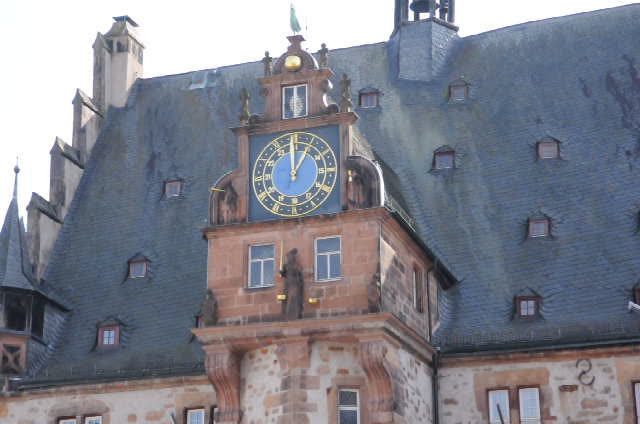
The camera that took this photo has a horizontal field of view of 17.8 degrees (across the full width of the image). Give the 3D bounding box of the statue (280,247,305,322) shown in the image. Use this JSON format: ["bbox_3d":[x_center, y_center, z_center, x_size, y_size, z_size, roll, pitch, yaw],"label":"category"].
[{"bbox_3d":[-0.993,2.398,71.224,0.830,2.561,0.546,-2,-27,-2],"label":"statue"}]

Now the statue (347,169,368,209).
[{"bbox_3d":[1.283,-0.894,71.750,0.712,1.335,0.310,-3,-27,1],"label":"statue"}]

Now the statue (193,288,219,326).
[{"bbox_3d":[-4.113,3.327,73.218,0.868,1.530,0.730,22,-38,-29],"label":"statue"}]

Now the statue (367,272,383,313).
[{"bbox_3d":[1.853,2.652,70.599,0.495,1.511,0.437,-3,-27,1],"label":"statue"}]

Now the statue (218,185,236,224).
[{"bbox_3d":[-3.334,-0.355,72.540,0.616,1.303,0.396,-4,-27,2],"label":"statue"}]
